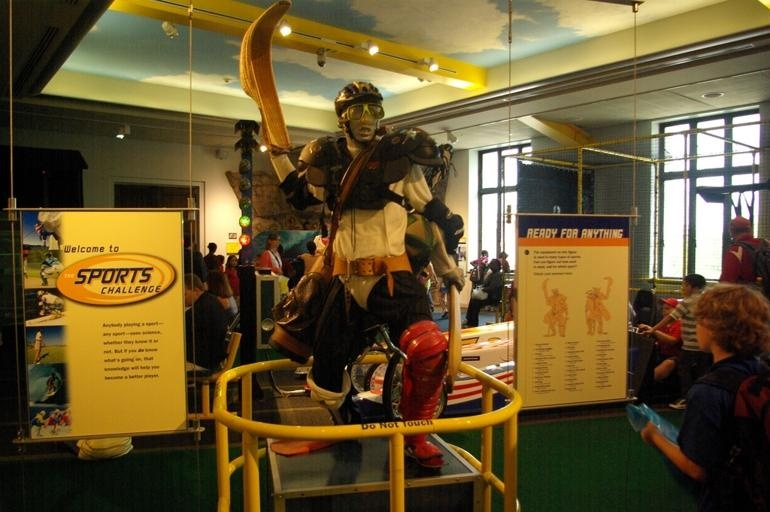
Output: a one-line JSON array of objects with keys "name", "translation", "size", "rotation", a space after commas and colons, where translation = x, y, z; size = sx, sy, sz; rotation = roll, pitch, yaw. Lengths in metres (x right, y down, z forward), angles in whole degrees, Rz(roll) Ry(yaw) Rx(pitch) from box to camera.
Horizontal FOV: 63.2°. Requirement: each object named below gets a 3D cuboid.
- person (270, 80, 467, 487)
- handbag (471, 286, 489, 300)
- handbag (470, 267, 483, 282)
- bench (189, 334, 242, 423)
[{"name": "person", "translation": [-0.110, -0.083, 3.851], "size": [1.147, 1.964, 0.329], "rotation": [-1, 1, -9]}, {"name": "handbag", "translation": [1.430, 0.569, 9.379], "size": [0.080, 0.178, 0.188], "rotation": [-9, 12, -44]}, {"name": "handbag", "translation": [1.568, 0.330, 10.654], "size": [0.159, 0.226, 0.219], "rotation": [3, 5, -34]}, {"name": "bench", "translation": [-1.494, 1.009, 5.266], "size": [0.575, 0.671, 0.407], "rotation": [0, -7, -19]}]
